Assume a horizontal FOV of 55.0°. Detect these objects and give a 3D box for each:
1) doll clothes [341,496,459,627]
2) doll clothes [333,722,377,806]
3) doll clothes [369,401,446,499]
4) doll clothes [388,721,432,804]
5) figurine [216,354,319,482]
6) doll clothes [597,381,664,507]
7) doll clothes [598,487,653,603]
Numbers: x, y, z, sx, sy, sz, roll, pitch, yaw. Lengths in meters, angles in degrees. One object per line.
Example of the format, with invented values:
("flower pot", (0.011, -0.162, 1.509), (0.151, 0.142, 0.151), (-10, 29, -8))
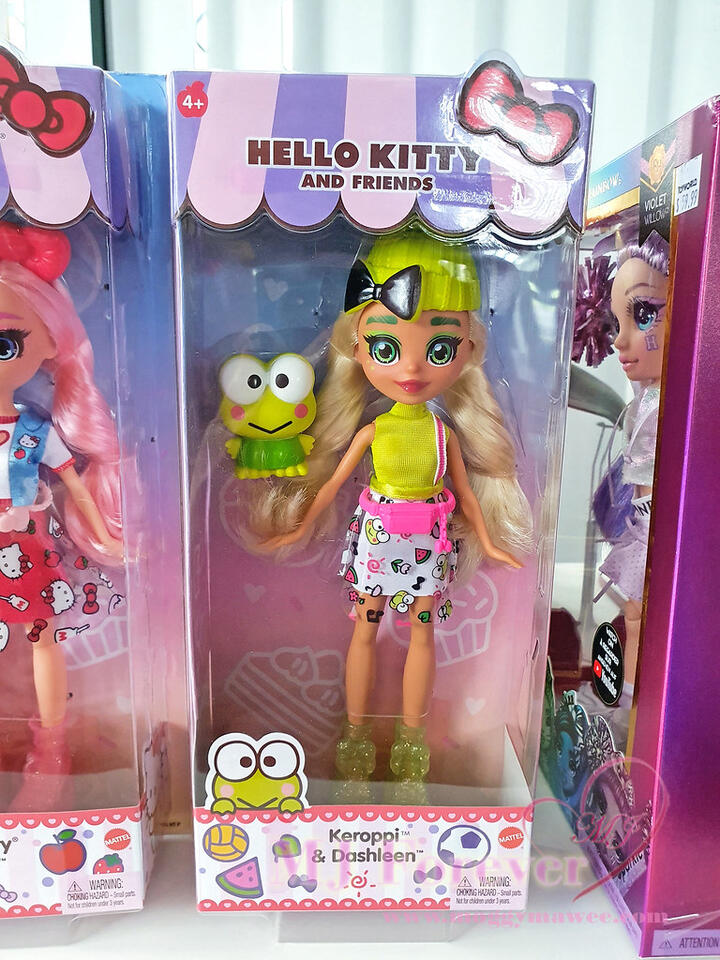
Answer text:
("doll clothes", (0.089, 0.132, 1.339), (0.219, 0.257, 0.142), (2, 16, 3))
("doll clothes", (-0.010, 0.557, 1.380), (0.084, 0.168, 0.086), (-5, 8, -37))
("doll clothes", (0.088, -0.049, 1.262), (0.162, 0.221, 0.119), (1, 2, -6))
("doll clothes", (0.098, 0.573, 1.368), (0.078, 0.189, 0.082), (5, -3, 5))
("figurine", (-0.173, -0.120, 1.255), (0.200, 0.289, 0.068), (-3, 22, -7))
("doll clothes", (0.532, -0.024, 1.322), (0.093, 0.134, 0.074), (-2, -36, 33))
("doll clothes", (0.519, 0.106, 1.329), (0.103, 0.136, 0.087), (-3, -37, 42))
